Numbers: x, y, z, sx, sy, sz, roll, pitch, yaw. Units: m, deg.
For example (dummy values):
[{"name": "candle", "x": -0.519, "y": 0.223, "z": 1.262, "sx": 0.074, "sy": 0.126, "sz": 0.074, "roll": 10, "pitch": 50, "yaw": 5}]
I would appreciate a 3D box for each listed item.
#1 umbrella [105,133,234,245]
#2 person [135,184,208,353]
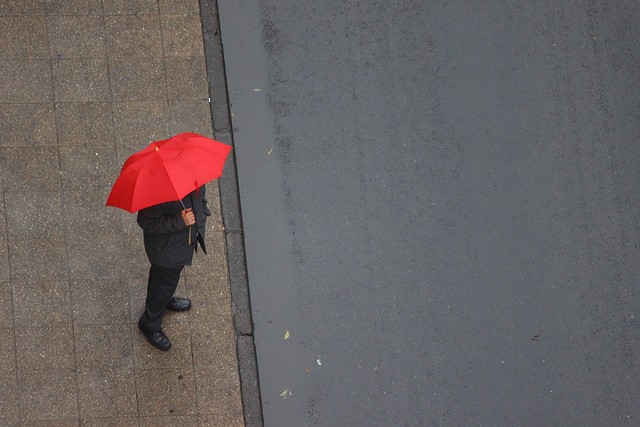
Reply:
[{"name": "umbrella", "x": -1.853, "y": -0.499, "z": 11.516, "sx": 1.402, "sy": 0.863, "sz": 0.717, "roll": 2, "pitch": 14, "yaw": -12}, {"name": "person", "x": -1.928, "y": 0.737, "z": 12.165, "sx": 0.663, "sy": 0.676, "sz": 2.002, "roll": 12, "pitch": -32, "yaw": -12}]
